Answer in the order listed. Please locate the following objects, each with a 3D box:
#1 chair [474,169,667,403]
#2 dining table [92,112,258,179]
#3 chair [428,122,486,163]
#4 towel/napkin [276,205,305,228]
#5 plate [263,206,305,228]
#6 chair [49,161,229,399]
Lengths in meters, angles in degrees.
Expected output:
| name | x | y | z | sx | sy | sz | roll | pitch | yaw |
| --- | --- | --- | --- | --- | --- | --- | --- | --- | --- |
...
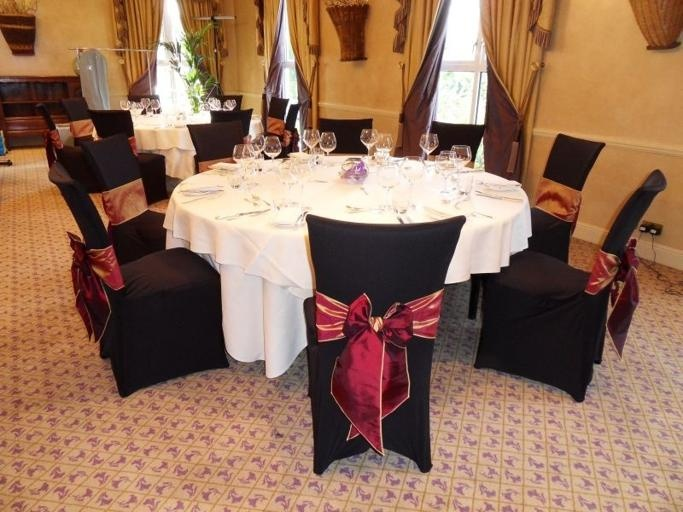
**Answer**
| name | x | y | z | sx | sy | sz | roll | pitch | yaw |
| --- | --- | --- | --- | --- | --- | --- | --- | --- | --- |
| chair | 1.331 | 0.123 | 3.070 | 0.720 | 1.241 | 0.625 | 17 | 29 | 32 |
| dining table | -1.918 | -1.266 | 5.956 | 0.920 | 0.639 | 1.021 | 5 | 15 | 8 |
| chair | 1.071 | -1.120 | 4.660 | 0.325 | 0.464 | 0.356 | 9 | 29 | 14 |
| towel/napkin | -0.276 | -0.238 | 2.794 | 0.102 | 0.045 | 0.144 | 2 | 26 | 1 |
| plate | -0.291 | -0.221 | 2.805 | 0.213 | 0.040 | 0.283 | -1 | 30 | -5 |
| chair | -1.079 | 0.052 | 3.109 | 0.836 | 1.425 | 0.768 | -8 | 24 | -30 |
